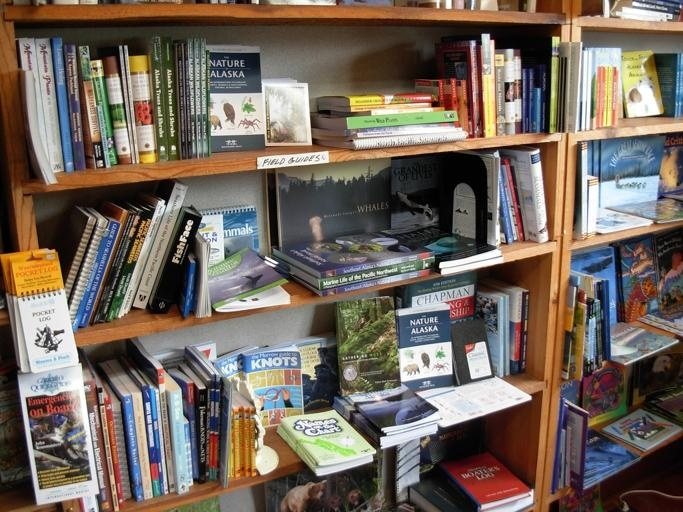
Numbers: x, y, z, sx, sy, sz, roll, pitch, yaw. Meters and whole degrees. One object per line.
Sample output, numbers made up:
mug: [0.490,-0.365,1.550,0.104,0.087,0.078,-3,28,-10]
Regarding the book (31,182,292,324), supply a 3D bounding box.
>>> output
book: [-0.469,-0.023,1.580,0.606,0.381,0.305,-11,16,-15]
